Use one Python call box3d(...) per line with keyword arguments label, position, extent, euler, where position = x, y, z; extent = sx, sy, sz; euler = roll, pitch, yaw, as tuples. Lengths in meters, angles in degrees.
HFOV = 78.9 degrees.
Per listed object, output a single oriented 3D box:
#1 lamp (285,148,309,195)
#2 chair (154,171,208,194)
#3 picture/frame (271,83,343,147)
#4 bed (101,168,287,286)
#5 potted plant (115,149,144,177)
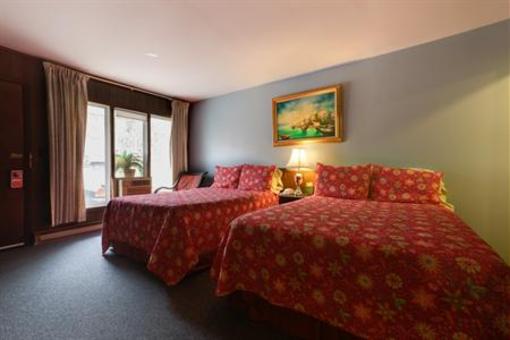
box3d(label="lamp", position=(0.769, 0.007, 5.559), extent=(0.400, 0.815, 0.572), euler=(0, 5, 9))
box3d(label="chair", position=(-1.501, 0.315, 6.384), extent=(0.622, 0.530, 1.014), euler=(-5, -4, 16))
box3d(label="picture/frame", position=(0.995, -1.004, 5.595), extent=(1.197, 0.871, 0.046), euler=(0, 1, 38))
box3d(label="bed", position=(-0.740, 0.776, 5.011), extent=(1.593, 1.139, 2.368), euler=(-2, -1, 39))
box3d(label="potted plant", position=(-2.496, -0.119, 6.226), extent=(0.469, 0.357, 0.483), euler=(-2, -1, 21))
